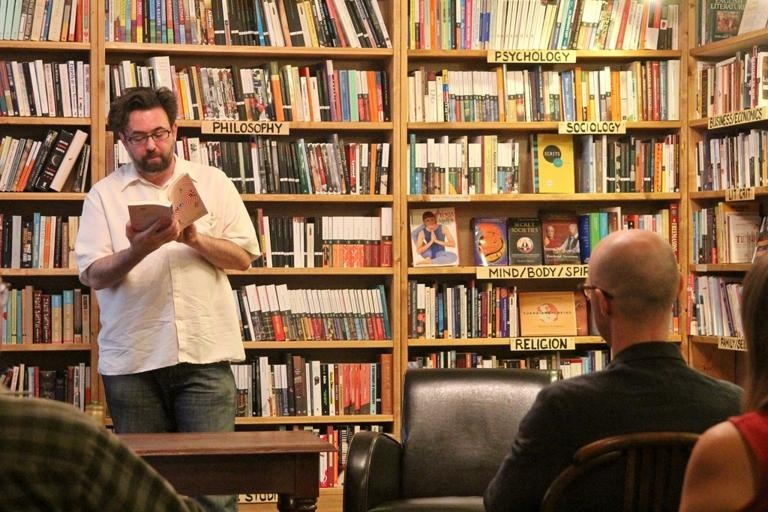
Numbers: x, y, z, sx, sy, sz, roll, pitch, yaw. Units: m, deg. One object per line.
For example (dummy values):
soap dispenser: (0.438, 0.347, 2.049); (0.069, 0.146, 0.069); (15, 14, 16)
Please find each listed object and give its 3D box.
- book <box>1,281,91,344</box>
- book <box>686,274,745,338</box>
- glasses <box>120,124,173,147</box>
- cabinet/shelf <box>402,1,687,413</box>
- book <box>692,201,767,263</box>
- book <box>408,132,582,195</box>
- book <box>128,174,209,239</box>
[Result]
book: (-1.840, 0.322, 4.964); (0.389, 0.361, 0.206); (1, -5, -7)
book: (1.863, 0.281, 5.077); (0.387, 0.364, 0.282); (1, -3, -17)
glasses: (-1.055, -0.530, 4.087); (0.219, 0.057, 0.101); (-2, -1, -14)
cabinet/shelf: (0.854, -0.322, 4.910); (2.267, 2.132, 0.690); (1, -5, -9)
book: (1.962, -0.127, 5.210); (0.345, 0.446, 0.362); (1, -1, -18)
book: (0.653, -0.535, 5.396); (1.005, 0.316, 0.359); (-2, -1, 3)
book: (-0.888, -0.197, 3.815); (0.275, 0.102, 0.270); (-18, 17, -12)
